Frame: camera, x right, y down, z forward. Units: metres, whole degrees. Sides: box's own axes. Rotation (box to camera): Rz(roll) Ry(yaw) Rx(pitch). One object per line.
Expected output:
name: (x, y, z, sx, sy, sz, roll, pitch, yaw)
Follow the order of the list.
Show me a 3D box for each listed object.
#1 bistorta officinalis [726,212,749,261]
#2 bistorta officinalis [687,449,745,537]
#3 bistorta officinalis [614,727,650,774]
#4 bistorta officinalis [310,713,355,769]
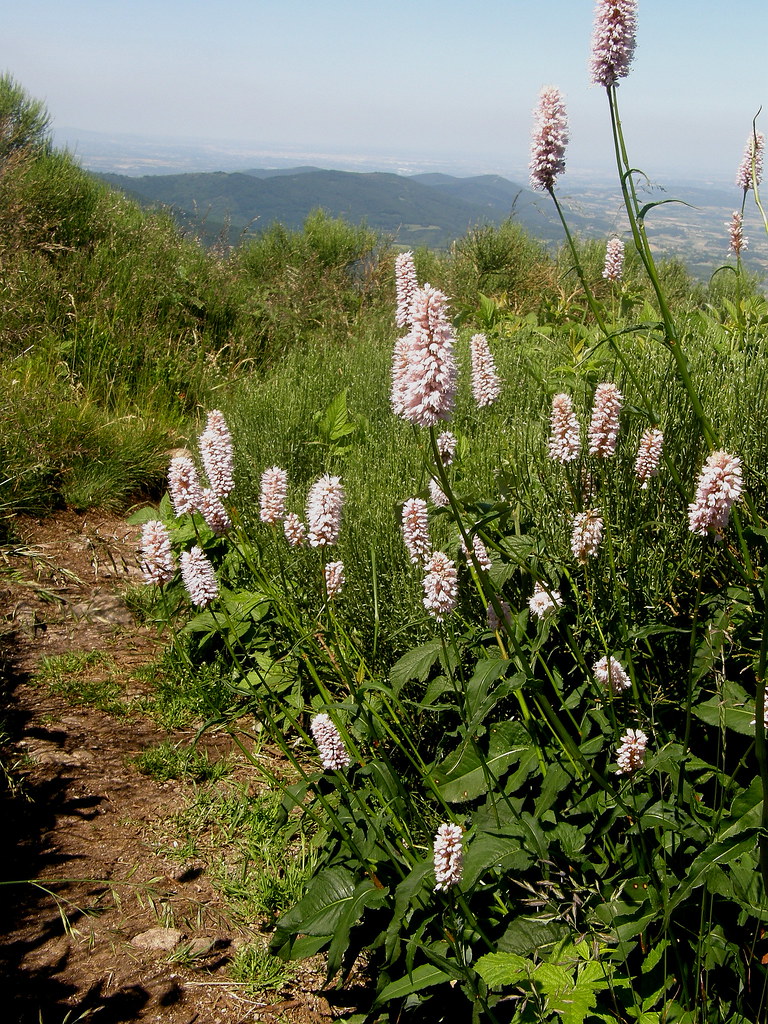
bistorta officinalis: (1.960, -1.539, 4.360, 0.113, 0.261, 0.287, 5, 14, 22)
bistorta officinalis: (0.730, -0.036, 1.737, 0.094, 0.213, 0.189, 5, 14, 22)
bistorta officinalis: (0.581, 0.545, 1.843, 0.064, 0.127, 0.142, 5, 13, 20)
bistorta officinalis: (-0.144, 0.616, 2.138, 0.095, 0.195, 0.148, 0, 13, -3)
